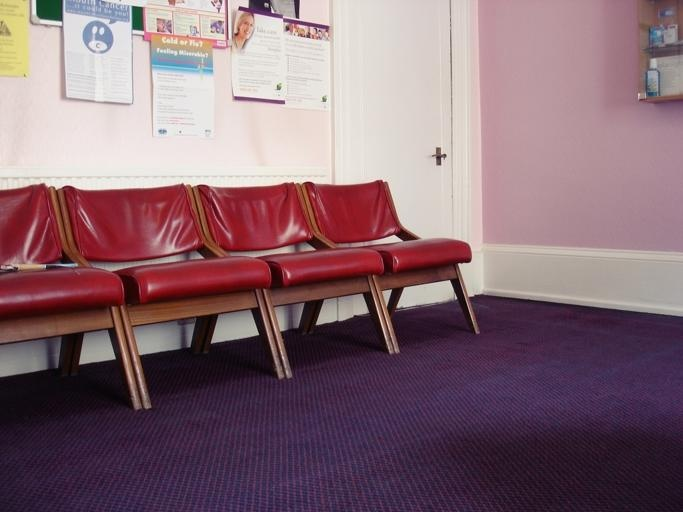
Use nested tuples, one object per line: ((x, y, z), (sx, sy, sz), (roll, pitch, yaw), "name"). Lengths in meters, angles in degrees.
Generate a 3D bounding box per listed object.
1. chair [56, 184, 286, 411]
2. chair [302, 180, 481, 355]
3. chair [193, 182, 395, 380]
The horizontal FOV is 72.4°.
((-0.846, 0.126, 2.234), (0.915, 0.992, 0.915), (1, 6, 19), "chair")
((0.260, 0.016, 2.849), (0.689, 0.976, 0.873), (-9, 8, -37), "chair")
((-0.295, 0.072, 2.551), (0.716, 0.991, 0.833), (-7, 7, -40), "chair")
